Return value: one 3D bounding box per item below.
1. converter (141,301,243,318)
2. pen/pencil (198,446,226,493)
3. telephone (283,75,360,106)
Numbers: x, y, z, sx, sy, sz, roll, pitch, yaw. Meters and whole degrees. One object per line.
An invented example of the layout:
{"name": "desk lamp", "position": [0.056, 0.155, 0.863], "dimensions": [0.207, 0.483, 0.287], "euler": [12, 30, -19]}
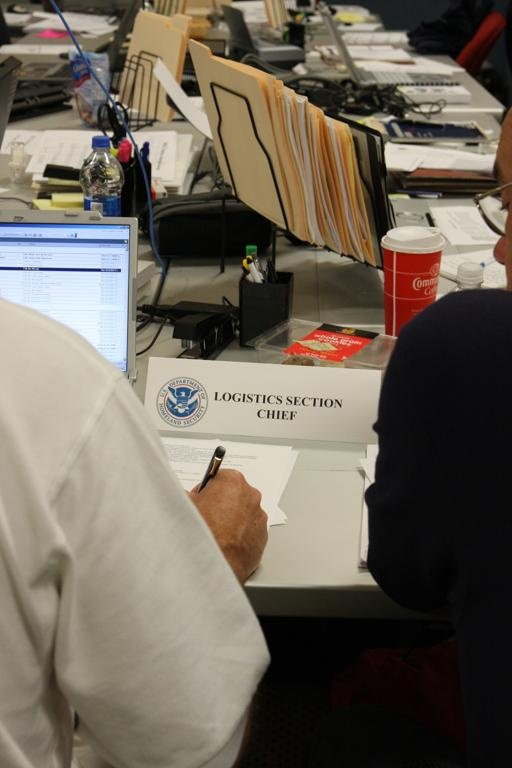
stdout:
{"name": "converter", "position": [-0.121, -0.143, 1.187], "dimensions": [0.149, 0.021, 0.041], "euler": [3, 27, 11]}
{"name": "pen/pencil", "position": [-0.060, 0.099, 0.734], "dimensions": [0.018, 0.081, 0.021], "euler": [27, 43, -1]}
{"name": "telephone", "position": [0.285, -1.315, 2.727], "dimensions": [0.282, 0.106, 0.433], "euler": [10, 41, 20]}
